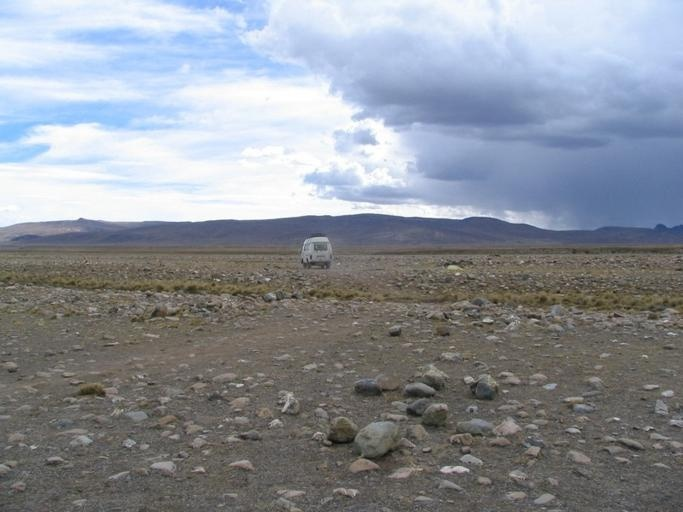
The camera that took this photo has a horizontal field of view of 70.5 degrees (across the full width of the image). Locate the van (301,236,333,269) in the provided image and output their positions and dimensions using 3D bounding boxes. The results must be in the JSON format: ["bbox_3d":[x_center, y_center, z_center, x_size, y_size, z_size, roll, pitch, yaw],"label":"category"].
[{"bbox_3d":[-2.256,-0.204,44.133,2.431,2.999,3.016,-3,11,-12],"label":"van"}]
